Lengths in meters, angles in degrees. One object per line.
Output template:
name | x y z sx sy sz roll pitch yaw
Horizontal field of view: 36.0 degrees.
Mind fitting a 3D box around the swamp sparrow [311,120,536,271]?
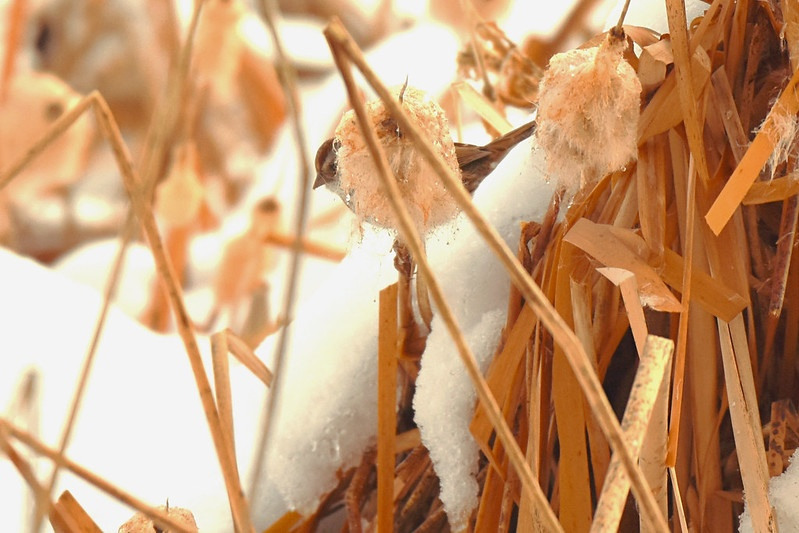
swamp sparrow | 0.025 -0.054 0.771 0.159 0.089 0.054 -9 -21 -2
